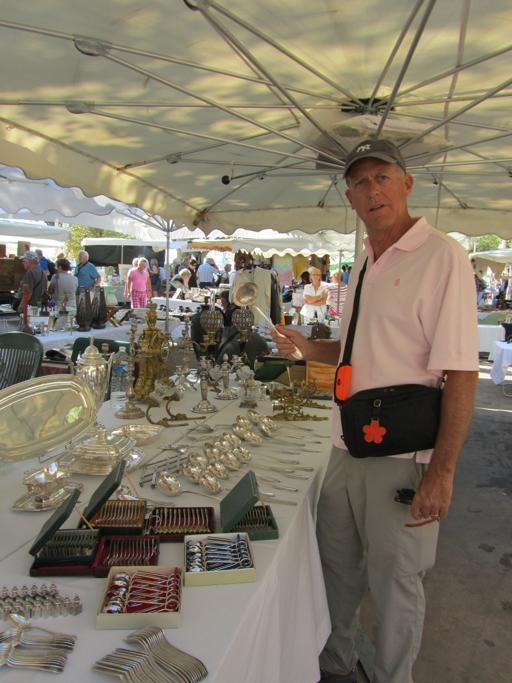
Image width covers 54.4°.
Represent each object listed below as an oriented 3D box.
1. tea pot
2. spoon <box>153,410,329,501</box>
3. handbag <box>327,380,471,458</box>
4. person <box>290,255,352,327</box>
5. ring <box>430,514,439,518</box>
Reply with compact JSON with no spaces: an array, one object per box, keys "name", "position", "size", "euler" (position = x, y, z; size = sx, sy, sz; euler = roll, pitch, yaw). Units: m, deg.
[{"name":"tea pot","position":[-0.533,0.134,1.698],"size":[0.177,0.290,0.162],"euler":[5,10,-1]},{"name":"spoon","position":[-0.059,0.422,1.820],"size":[0.288,0.039,0.294],"euler":[1,6,30]},{"name":"handbag","position":[0.385,0.241,1.459],"size":[0.280,0.243,0.064],"euler":[8,10,11]},{"name":"person","position":[0.857,-0.601,7.462],"size":[1.068,1.380,0.939],"euler":[8,10,19]},{"name":"ring","position":[0.519,0.504,1.435],"size":[0.022,0.004,0.019],"euler":[0,0,3]}]
